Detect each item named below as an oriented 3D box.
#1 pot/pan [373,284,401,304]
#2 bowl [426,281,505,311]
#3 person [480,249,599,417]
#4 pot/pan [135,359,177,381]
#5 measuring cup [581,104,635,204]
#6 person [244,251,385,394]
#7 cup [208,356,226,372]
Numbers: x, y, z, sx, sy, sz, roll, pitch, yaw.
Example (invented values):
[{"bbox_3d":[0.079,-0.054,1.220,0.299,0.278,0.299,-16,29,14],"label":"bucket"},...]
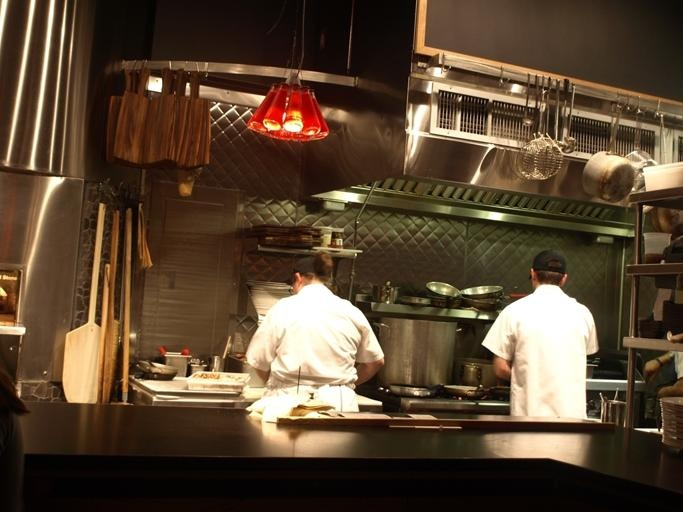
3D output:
[{"bbox_3d":[0.338,0.291,5.203,0.165,0.111,0.144,1,-5,6],"label":"pot/pan"},{"bbox_3d":[0.992,0.293,5.443,0.616,0.220,0.381,5,0,-13],"label":"bowl"},{"bbox_3d":[1.274,0.462,4.291,0.605,1.068,0.523,3,1,8],"label":"person"},{"bbox_3d":[-1.286,0.791,4.613,0.185,0.077,0.166,1,-2,-2],"label":"pot/pan"},{"bbox_3d":[1.768,-0.676,4.289,0.288,0.643,0.234,4,14,-31],"label":"measuring cup"},{"bbox_3d":[-0.133,0.380,3.915,0.807,0.800,0.330,5,-5,-9],"label":"person"},{"bbox_3d":[-0.942,0.812,5.043,0.107,0.119,0.109,1,-7,0],"label":"cup"}]
